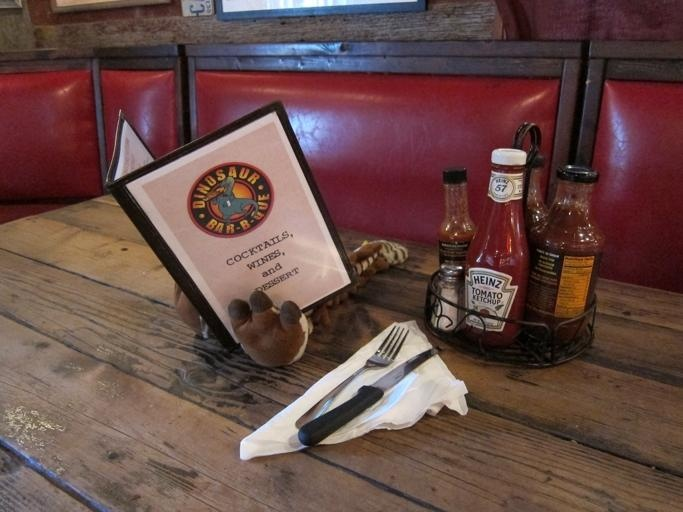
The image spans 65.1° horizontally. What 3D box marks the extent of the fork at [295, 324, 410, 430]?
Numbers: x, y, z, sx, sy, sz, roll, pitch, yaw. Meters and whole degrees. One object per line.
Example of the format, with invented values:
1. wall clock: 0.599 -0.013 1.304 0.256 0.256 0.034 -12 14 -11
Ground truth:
1. fork: 0.018 0.202 0.867 0.032 0.033 0.236 17 43 42
